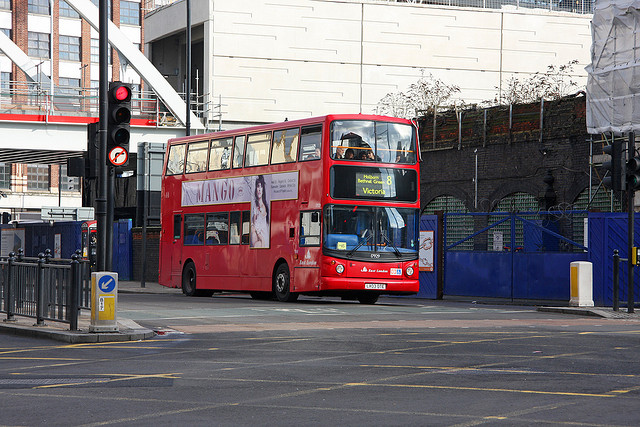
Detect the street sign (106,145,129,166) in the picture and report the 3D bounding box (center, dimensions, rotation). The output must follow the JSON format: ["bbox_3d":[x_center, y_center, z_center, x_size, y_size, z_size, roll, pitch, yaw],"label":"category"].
[{"bbox_3d":[-5.009,-1.466,27.520,0.587,0.524,0.272,2,-4,-33],"label":"street sign"}]

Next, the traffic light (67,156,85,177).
[{"bbox_3d":[-6.053,-1.186,27.545,0.596,0.561,0.207,0,-2,-3],"label":"traffic light"}]

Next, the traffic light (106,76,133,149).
[{"bbox_3d":[-4.997,-2.586,27.588,0.625,1.826,0.532,0,-4,-12],"label":"traffic light"}]

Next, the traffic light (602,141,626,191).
[{"bbox_3d":[8.366,-1.394,31.425,0.646,1.394,0.924,-2,-4,14],"label":"traffic light"}]
